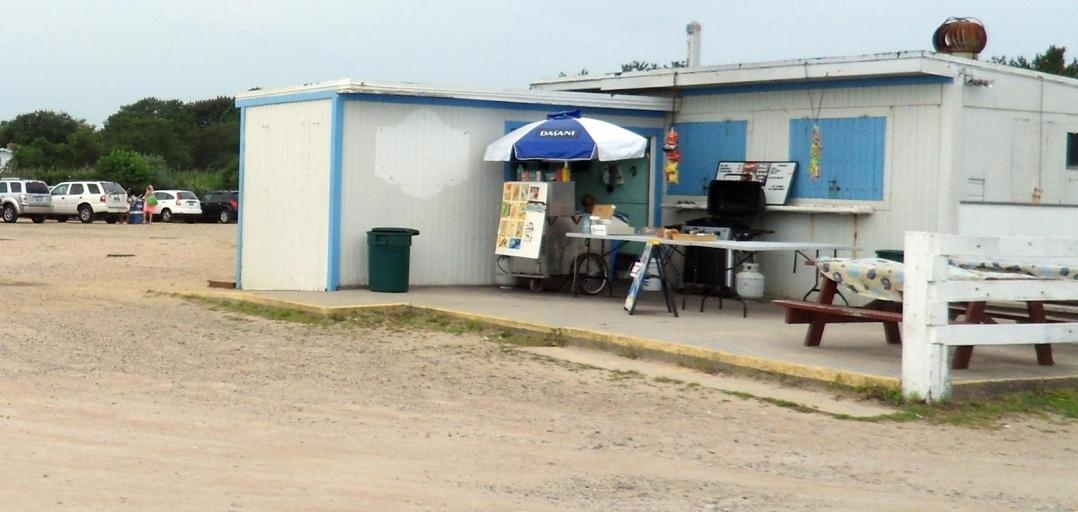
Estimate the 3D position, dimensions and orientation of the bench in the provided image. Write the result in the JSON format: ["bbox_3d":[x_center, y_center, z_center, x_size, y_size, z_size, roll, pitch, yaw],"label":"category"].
[{"bbox_3d":[6.674,1.397,25.833,2.998,0.890,4.265,-4,-5,13],"label":"bench"}]

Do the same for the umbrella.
[{"bbox_3d":[0.564,-2.914,27.399,4.740,1.591,1.866,-1,0,-8],"label":"umbrella"}]

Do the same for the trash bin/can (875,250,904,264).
[{"bbox_3d":[7.783,-0.031,26.961,0.442,0.360,0.417,0,-1,14],"label":"trash bin/can"}]

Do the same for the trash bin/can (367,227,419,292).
[{"bbox_3d":[-3.375,0.065,28.037,1.136,1.428,1.259,1,2,-9],"label":"trash bin/can"}]

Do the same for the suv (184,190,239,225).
[{"bbox_3d":[-13.891,-2.015,51.229,2.967,1.336,1.738,5,4,36],"label":"suv"}]

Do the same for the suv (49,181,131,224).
[{"bbox_3d":[-17.987,-2.175,49.257,3.213,1.633,1.593,0,1,7],"label":"suv"}]
